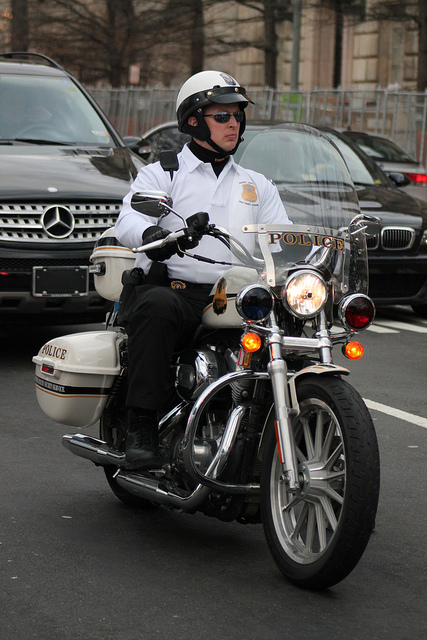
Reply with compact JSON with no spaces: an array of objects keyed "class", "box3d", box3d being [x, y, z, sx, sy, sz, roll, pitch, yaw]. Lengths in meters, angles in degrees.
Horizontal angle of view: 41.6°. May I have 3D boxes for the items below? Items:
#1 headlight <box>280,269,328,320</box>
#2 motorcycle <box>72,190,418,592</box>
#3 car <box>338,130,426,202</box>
[{"class":"headlight","box3d":[0.266,-0.070,1.749,0.146,0.133,0.142,-14,5,-28]},{"class":"motorcycle","box3d":[0.050,0.185,2.072,1.078,1.392,0.868,-1,-7,17]},{"class":"car","box3d":[3.359,-3.125,10.915,1.179,0.826,2.554,9,2,31]}]
